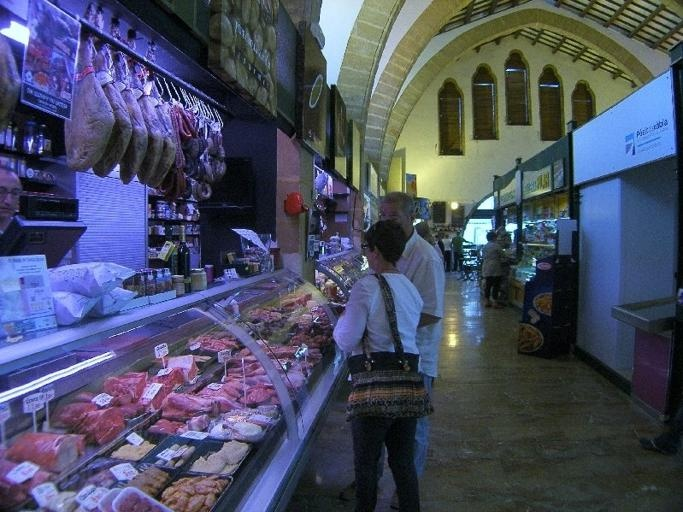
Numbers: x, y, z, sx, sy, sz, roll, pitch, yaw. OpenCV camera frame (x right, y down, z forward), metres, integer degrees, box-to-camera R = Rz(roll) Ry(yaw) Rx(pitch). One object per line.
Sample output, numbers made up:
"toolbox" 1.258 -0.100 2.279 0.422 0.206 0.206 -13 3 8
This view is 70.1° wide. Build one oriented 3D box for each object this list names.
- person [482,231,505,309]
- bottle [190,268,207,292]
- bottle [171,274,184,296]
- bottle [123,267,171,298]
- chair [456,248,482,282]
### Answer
"person" 2.878 0.230 9.275 0.371 1.429 0.895 1 6 17
"bottle" -0.748 0.126 2.593 0.095 0.113 0.097 1 0 -8
"bottle" -0.813 0.150 2.375 0.083 0.096 0.081 2 -2 -40
"bottle" -0.885 0.117 2.275 0.076 0.117 0.282 2 7 23
"chair" 3.949 0.262 14.807 0.876 1.222 0.923 0 -4 13
